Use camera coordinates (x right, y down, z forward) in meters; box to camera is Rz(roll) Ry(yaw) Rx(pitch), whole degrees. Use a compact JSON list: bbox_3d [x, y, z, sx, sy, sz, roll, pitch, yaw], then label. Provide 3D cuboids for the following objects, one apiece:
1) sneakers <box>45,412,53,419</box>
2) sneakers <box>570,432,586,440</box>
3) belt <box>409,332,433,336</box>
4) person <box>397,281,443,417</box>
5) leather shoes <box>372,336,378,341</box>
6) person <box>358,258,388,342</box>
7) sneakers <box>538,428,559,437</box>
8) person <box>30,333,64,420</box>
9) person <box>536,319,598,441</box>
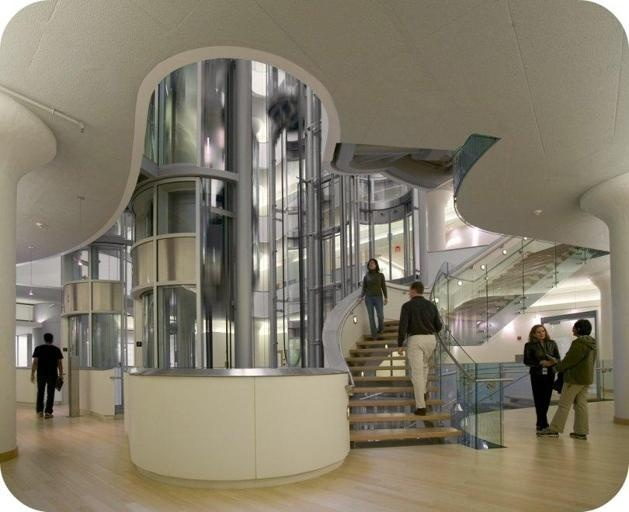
[{"bbox_3d":[-5.476,3.273,11.835,0.142,0.109,0.174,2,-6,-26],"label":"sneakers"},{"bbox_3d":[3.826,2.586,8.271,0.087,0.111,0.215,0,4,-16],"label":"sneakers"},{"bbox_3d":[1.548,1.091,8.132,0.330,0.042,0.104,1,-6,-24],"label":"belt"},{"bbox_3d":[1.523,1.297,8.183,0.625,1.858,0.343,-1,-5,-3],"label":"person"},{"bbox_3d":[1.200,1.576,11.183,0.085,0.134,0.073,2,1,13],"label":"leather shoes"},{"bbox_3d":[1.180,0.815,11.279,0.482,1.517,1.172,-1,-5,5],"label":"person"},{"bbox_3d":[3.409,2.566,8.327,0.286,0.142,0.122,3,-10,13],"label":"sneakers"},{"bbox_3d":[-5.555,2.465,11.927,0.577,1.747,1.156,2,-6,-27],"label":"person"},{"bbox_3d":[3.747,1.717,8.364,0.592,1.825,0.600,1,6,-11],"label":"person"}]
